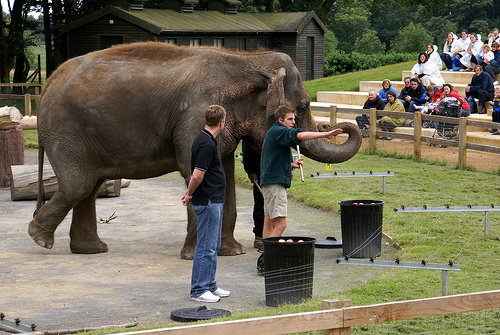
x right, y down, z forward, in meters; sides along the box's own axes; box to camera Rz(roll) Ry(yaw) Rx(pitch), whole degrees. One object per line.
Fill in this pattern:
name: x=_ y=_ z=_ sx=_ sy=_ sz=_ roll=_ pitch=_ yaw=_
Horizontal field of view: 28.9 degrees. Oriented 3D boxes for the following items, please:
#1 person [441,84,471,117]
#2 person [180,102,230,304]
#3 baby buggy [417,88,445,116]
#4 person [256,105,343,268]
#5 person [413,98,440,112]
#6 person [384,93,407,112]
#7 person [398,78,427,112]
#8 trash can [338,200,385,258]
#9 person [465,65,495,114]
person: x=6.775 y=-2.191 z=31.706 sx=0.899 sy=1.054 sz=0.771 roll=1 pitch=8 yaw=5
person: x=-0.841 y=0.749 z=19.626 sx=0.842 sy=3.970 sz=0.621 roll=-3 pitch=8 yaw=-21
baby buggy: x=6.101 y=-2.131 z=31.870 sx=0.385 sy=0.813 sz=0.722 roll=22 pitch=-2 yaw=-32
person: x=0.785 y=0.434 z=20.569 sx=1.244 sy=3.467 sz=0.948 roll=0 pitch=8 yaw=1
person: x=5.966 y=-2.078 z=32.075 sx=0.495 sy=0.436 sz=1.171 roll=-4 pitch=8 yaw=-29
person: x=4.946 y=-2.210 z=32.891 sx=0.673 sy=0.734 sz=0.660 roll=-5 pitch=4 yaw=-22
person: x=5.614 y=-2.293 z=33.335 sx=0.754 sy=1.491 sz=0.989 roll=7 pitch=8 yaw=28
trash can: x=2.686 y=1.382 z=22.067 sx=1.299 sy=1.156 sz=1.207 roll=-1 pitch=1 yaw=-2
person: x=7.803 y=-2.635 z=32.873 sx=0.901 sy=1.605 sz=0.638 roll=6 pitch=10 yaw=38
